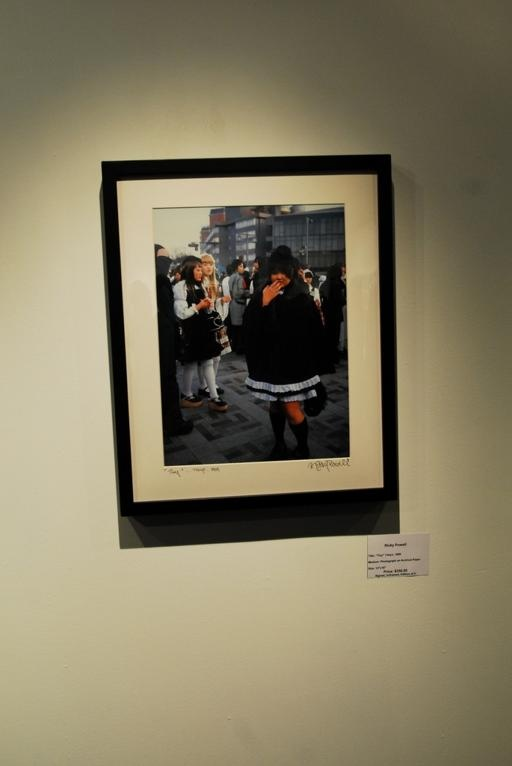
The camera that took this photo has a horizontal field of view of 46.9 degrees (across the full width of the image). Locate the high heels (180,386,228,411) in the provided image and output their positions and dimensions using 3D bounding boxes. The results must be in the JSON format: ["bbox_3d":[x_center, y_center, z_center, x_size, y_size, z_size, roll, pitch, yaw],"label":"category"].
[{"bbox_3d":[-0.101,0.025,1.124,0.102,0.044,0.036,-3,19,-4],"label":"high heels"}]

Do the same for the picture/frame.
[{"bbox_3d":[-0.021,-0.110,1.104,0.613,0.808,0.035,-2,6,-6],"label":"picture/frame"}]
